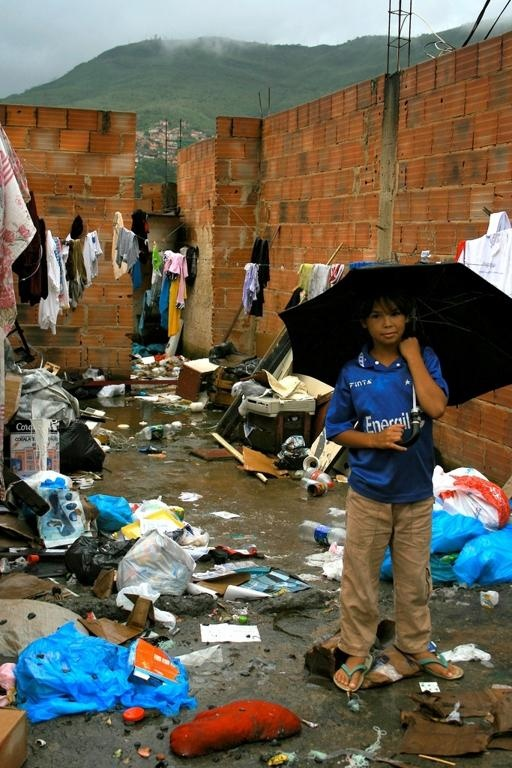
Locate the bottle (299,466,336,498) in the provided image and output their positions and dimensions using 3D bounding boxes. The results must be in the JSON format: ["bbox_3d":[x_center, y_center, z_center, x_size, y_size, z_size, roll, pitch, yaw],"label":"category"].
[{"bbox_3d":[0.570,0.907,5.762,0.240,0.103,0.225,10,5,-1],"label":"bottle"}]

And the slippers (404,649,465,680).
[{"bbox_3d":[0.732,1.162,2.574,0.267,0.061,0.106,5,15,44],"label":"slippers"}]

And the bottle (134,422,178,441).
[{"bbox_3d":[-1.194,0.577,7.697,0.372,0.175,0.784,3,5,10],"label":"bottle"}]
